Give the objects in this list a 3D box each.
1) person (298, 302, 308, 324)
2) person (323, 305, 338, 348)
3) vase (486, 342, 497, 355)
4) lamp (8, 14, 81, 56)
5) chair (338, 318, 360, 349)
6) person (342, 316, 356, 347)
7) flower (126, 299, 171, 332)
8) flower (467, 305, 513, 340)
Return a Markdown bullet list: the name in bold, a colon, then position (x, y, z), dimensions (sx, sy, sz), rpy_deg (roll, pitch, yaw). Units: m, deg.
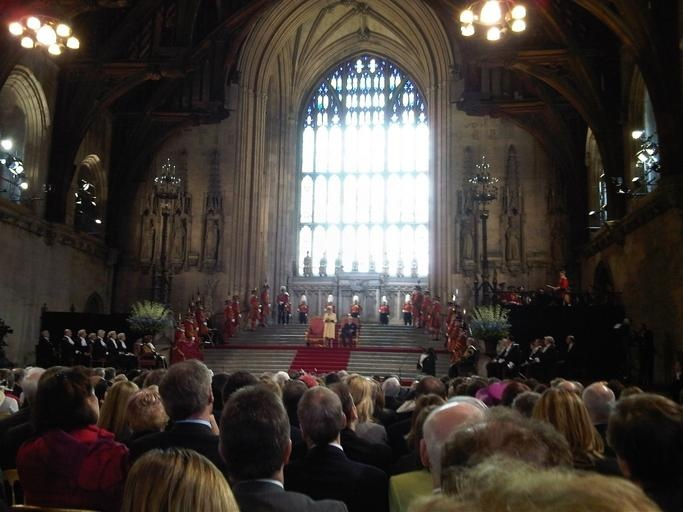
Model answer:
- **person**: position (-1.802, 2.612, 33.241), dimensions (0.343, 0.961, 0.752), rpy_deg (3, -8, -7)
- **person**: position (-0.455, 2.586, 27.021), dimensions (0.480, 1.536, 1.140), rpy_deg (2, -8, 0)
- **vase**: position (4.006, 2.449, 19.145), dimensions (0.300, 0.301, 0.169), rpy_deg (2, -15, 9)
- **lamp**: position (-7.596, -5.669, 18.337), dimensions (1.266, 0.888, 1.596), rpy_deg (1, -8, 6)
- **chair**: position (0.326, 2.916, 27.225), dimensions (0.702, 1.208, 0.949), rpy_deg (0, -14, 5)
- **person**: position (0.288, 2.829, 26.955), dimensions (0.584, 1.050, 0.840), rpy_deg (2, -8, 1)
- **flower**: position (-5.723, 1.846, 21.380), dimensions (1.165, 0.957, 1.578), rpy_deg (4, -8, -14)
- **flower**: position (4.067, 1.753, 19.617), dimensions (0.943, 1.032, 0.883), rpy_deg (5, -14, -7)
